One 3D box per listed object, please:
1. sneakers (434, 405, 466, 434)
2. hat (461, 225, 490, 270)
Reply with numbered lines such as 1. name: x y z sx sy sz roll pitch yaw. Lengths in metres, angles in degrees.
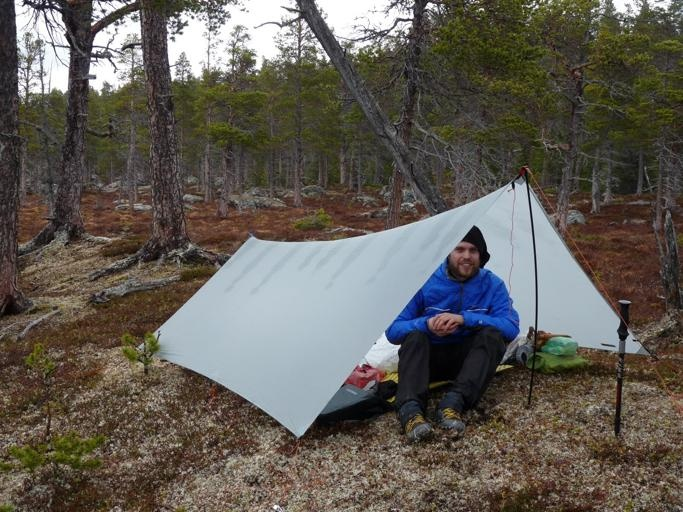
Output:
1. sneakers: 1.644 2.462 9.817 0.238 0.235 0.467 2 -7 -27
2. hat: 2.166 -0.207 10.618 0.620 0.487 0.452 45 -20 -30
